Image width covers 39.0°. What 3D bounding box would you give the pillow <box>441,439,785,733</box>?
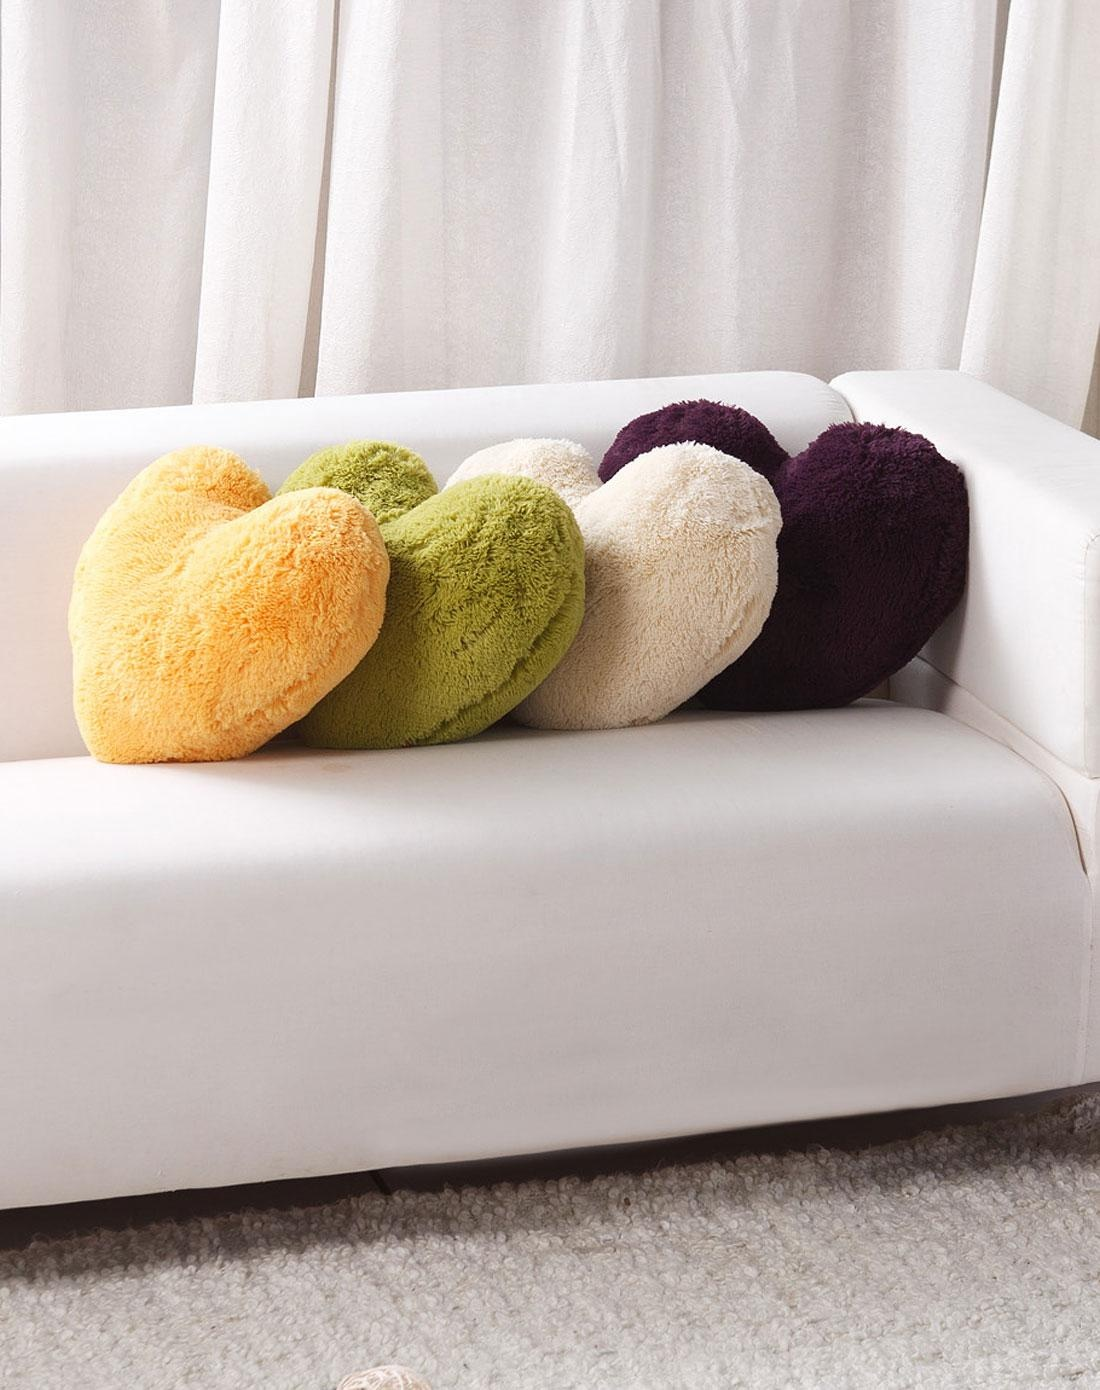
[{"bbox_3d":[0.101,-0.085,1.283,0.287,0.239,0.115,14,-6,42],"label":"pillow"}]

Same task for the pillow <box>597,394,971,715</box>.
[{"bbox_3d":[0.155,-0.094,1.386,0.409,0.281,0.196,2,-8,-10],"label":"pillow"}]

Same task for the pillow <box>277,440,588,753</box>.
[{"bbox_3d":[-0.051,-0.048,1.243,0.246,0.237,0.100,27,-3,37],"label":"pillow"}]
